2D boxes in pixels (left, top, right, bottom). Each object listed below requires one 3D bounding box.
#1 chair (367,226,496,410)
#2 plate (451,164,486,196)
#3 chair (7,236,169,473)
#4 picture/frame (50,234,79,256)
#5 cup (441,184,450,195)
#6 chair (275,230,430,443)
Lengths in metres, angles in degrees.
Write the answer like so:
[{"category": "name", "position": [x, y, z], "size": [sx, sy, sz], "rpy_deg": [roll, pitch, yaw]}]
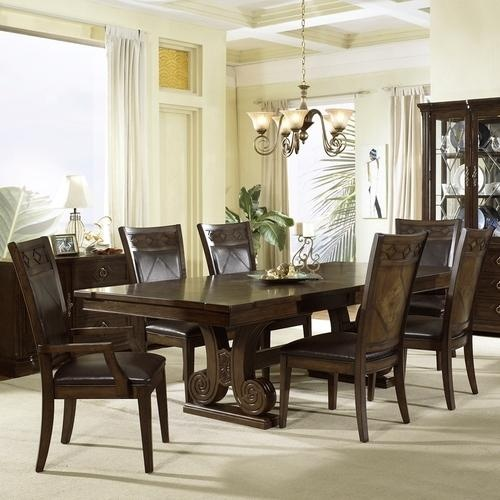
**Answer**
[{"category": "chair", "position": [1.098, 0.416, 3.146], "size": [0.842, 1.027, 0.724], "rpy_deg": [-2, -1, 45]}, {"category": "plate", "position": [2.167, -0.706, 4.890], "size": [0.297, 0.283, 0.114], "rpy_deg": [8, 14, 40]}, {"category": "chair", "position": [-0.638, 0.405, 2.008], "size": [0.546, 0.946, 0.553], "rpy_deg": [0, -3, -4]}, {"category": "picture/frame", "position": [-1.528, -0.040, 3.981], "size": [0.034, 0.136, 0.209], "rpy_deg": [-14, -7, 36]}, {"category": "cup", "position": [2.009, -0.625, 4.976], "size": [0.101, 0.138, 0.096], "rpy_deg": [-2, 2, 0]}, {"category": "chair", "position": [0.535, 0.418, 2.469], "size": [0.687, 0.985, 0.578], "rpy_deg": [-4, -5, 43]}]
